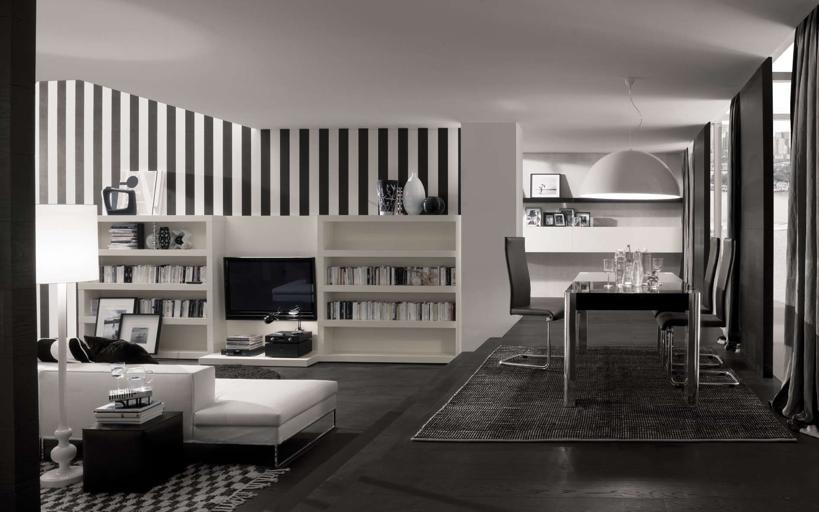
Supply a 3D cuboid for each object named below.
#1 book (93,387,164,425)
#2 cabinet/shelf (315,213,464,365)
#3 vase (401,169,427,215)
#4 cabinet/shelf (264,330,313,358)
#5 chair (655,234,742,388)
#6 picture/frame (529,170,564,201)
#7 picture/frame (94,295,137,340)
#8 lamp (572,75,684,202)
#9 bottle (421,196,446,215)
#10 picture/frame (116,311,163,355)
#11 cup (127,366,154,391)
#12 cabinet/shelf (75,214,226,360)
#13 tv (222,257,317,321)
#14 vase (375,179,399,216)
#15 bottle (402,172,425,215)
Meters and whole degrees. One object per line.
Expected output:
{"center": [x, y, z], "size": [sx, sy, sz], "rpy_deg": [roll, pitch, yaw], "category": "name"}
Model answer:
{"center": [-2.099, 1.126, 5.046], "size": [0.348, 0.146, 0.328], "rpy_deg": [0, -1, 4], "category": "book"}
{"center": [-0.225, 0.464, 9.069], "size": [2.187, 1.839, 0.659], "rpy_deg": [0, -1, 2], "category": "cabinet/shelf"}
{"center": [0.058, -0.850, 9.190], "size": [0.372, 0.558, 0.352], "rpy_deg": [0, -1, 1], "category": "vase"}
{"center": [-1.604, 1.142, 8.815], "size": [0.363, 0.233, 0.477], "rpy_deg": [2, 3, 12], "category": "cabinet/shelf"}
{"center": [2.720, 0.546, 6.673], "size": [0.990, 1.283, 0.948], "rpy_deg": [-8, 0, -4], "category": "chair"}
{"center": [2.356, -1.194, 11.463], "size": [0.585, 0.449, 0.071], "rpy_deg": [0, -3, 1], "category": "picture/frame"}
{"center": [-4.049, 0.858, 9.269], "size": [0.631, 0.698, 0.048], "rpy_deg": [0, -8, -5], "category": "picture/frame"}
{"center": [2.537, -1.161, 7.327], "size": [1.366, 1.403, 1.459], "rpy_deg": [3, 7, 28], "category": "lamp"}
{"center": [0.311, -0.676, 9.184], "size": [0.266, 0.226, 0.256], "rpy_deg": [0, 2, -32], "category": "bottle"}
{"center": [-3.749, 1.089, 9.337], "size": [0.617, 0.527, 0.055], "rpy_deg": [-1, -13, 16], "category": "picture/frame"}
{"center": [-2.112, 0.952, 5.254], "size": [0.219, 0.139, 0.161], "rpy_deg": [1, -2, -17], "category": "cup"}
{"center": [-3.325, 0.368, 8.718], "size": [2.202, 1.893, 0.550], "rpy_deg": [0, -2, 3], "category": "cabinet/shelf"}
{"center": [-1.871, 0.429, 9.216], "size": [0.955, 0.589, 0.050], "rpy_deg": [0, -1, 1], "category": "tv"}
{"center": [-0.304, -0.798, 9.164], "size": [0.292, 0.452, 0.300], "rpy_deg": [0, 12, 1], "category": "vase"}
{"center": [0.055, -0.842, 9.124], "size": [0.317, 0.545, 0.308], "rpy_deg": [0, 12, 0], "category": "bottle"}
